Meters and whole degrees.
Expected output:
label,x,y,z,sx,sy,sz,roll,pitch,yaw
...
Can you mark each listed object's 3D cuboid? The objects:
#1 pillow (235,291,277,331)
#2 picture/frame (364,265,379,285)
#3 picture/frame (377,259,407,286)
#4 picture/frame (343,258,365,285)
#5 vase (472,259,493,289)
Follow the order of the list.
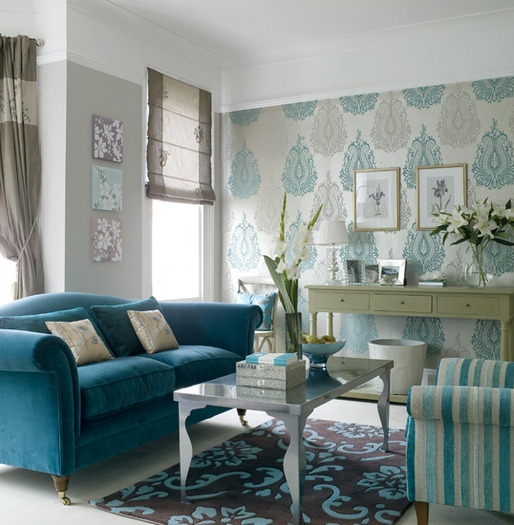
label,x,y,z,sx,sy,sz,roll,pitch,yaw
pillow,0.005,0.396,4.014,0.395,0.309,0.146,-2,-5,35
picture/frame,1.019,0.108,4.391,0.174,0.231,0.025,-2,-6,37
picture/frame,1.178,0.090,4.280,0.240,0.243,0.026,0,-17,28
picture/frame,0.852,0.064,4.441,0.217,0.283,0.192,0,-4,-3
vase,1.773,0.081,3.910,0.185,0.242,0.188,0,-5,-3
